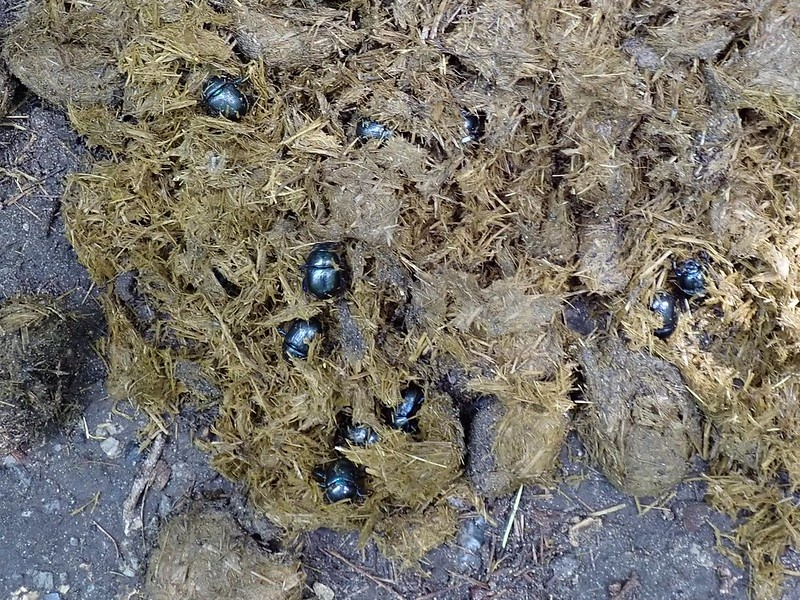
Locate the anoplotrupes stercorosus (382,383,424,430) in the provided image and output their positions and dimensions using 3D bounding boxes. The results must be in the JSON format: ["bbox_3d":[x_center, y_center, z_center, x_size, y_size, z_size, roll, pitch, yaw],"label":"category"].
[{"bbox_3d":[0.039,0.530,3.886,0.223,0.105,0.169,-40,78,-24],"label":"anoplotrupes stercorosus"}]

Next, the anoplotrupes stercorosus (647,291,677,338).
[{"bbox_3d":[1.263,0.069,3.863,0.140,0.114,0.196,4,94,14],"label":"anoplotrupes stercorosus"}]

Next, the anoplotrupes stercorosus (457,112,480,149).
[{"bbox_3d":[0.337,-0.805,3.769,0.098,0.073,0.142,11,64,-5],"label":"anoplotrupes stercorosus"}]

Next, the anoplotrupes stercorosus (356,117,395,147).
[{"bbox_3d":[-0.116,-0.789,3.753,0.164,0.066,0.094,16,89,2],"label":"anoplotrupes stercorosus"}]

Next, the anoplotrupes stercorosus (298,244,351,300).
[{"bbox_3d":[-0.351,-0.132,3.710,0.216,0.129,0.245,-1,88,-3],"label":"anoplotrupes stercorosus"}]

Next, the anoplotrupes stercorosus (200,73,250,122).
[{"bbox_3d":[-0.821,-0.942,3.742,0.200,0.068,0.201,-39,98,2],"label":"anoplotrupes stercorosus"}]

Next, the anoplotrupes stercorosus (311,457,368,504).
[{"bbox_3d":[-0.289,0.858,3.864,0.249,0.119,0.211,-5,66,-13],"label":"anoplotrupes stercorosus"}]

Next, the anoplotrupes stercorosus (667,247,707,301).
[{"bbox_3d":[1.395,-0.127,3.894,0.161,0.108,0.211,17,91,0],"label":"anoplotrupes stercorosus"}]

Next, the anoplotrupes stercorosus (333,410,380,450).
[{"bbox_3d":[-0.213,0.631,3.930,0.190,0.110,0.160,10,101,5],"label":"anoplotrupes stercorosus"}]
